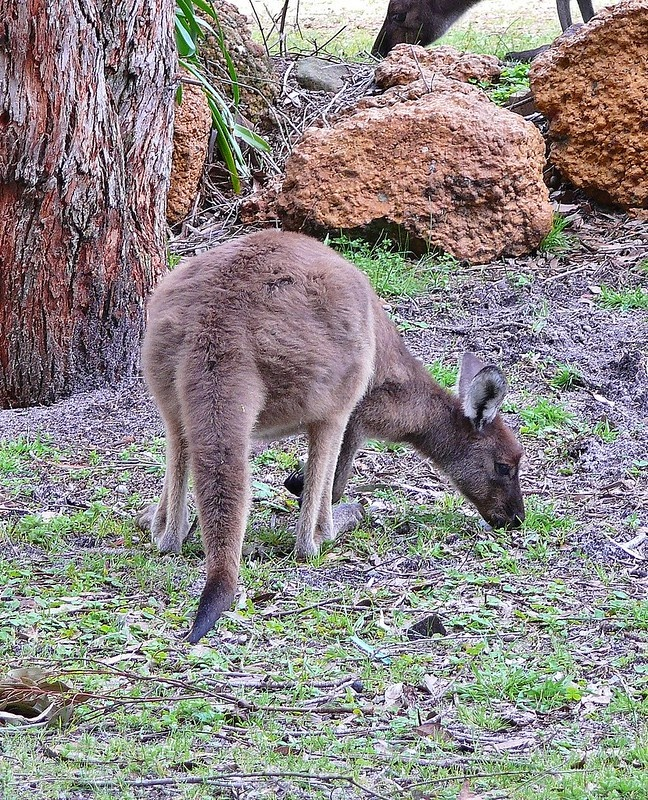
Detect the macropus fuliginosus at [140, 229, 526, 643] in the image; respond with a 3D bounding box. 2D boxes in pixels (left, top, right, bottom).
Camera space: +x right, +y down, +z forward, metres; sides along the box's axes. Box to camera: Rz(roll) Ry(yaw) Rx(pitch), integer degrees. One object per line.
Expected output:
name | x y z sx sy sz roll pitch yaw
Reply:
macropus fuliginosus | 0.110 0.051 3.800 0.838 1.112 2.329 7 3 37
